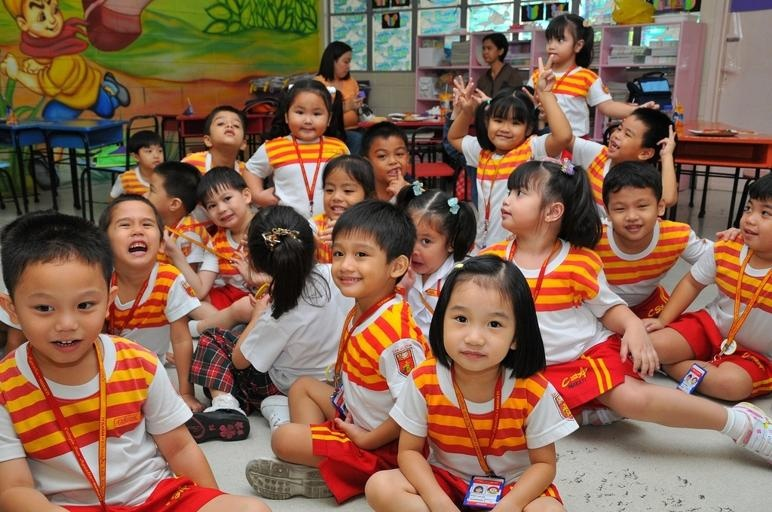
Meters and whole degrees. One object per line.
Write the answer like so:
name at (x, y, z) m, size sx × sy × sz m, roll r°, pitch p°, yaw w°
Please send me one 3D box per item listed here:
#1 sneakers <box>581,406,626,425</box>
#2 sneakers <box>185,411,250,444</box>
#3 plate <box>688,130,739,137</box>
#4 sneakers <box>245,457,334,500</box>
sneakers at (0.854, 0.635, 2.377) m, size 0.151 × 0.056 × 0.086 m, roll 4°, pitch -4°, yaw -32°
sneakers at (-0.638, 0.665, 2.337) m, size 0.277 × 0.095 × 0.114 m, roll 6°, pitch 8°, yaw -10°
plate at (2.477, -0.936, 4.517) m, size 0.315 × 0.063 × 0.375 m, roll 4°, pitch 12°, yaw 31°
sneakers at (-0.329, 0.760, 2.101) m, size 0.340 × 0.118 × 0.153 m, roll 8°, pitch -7°, yaw 0°
